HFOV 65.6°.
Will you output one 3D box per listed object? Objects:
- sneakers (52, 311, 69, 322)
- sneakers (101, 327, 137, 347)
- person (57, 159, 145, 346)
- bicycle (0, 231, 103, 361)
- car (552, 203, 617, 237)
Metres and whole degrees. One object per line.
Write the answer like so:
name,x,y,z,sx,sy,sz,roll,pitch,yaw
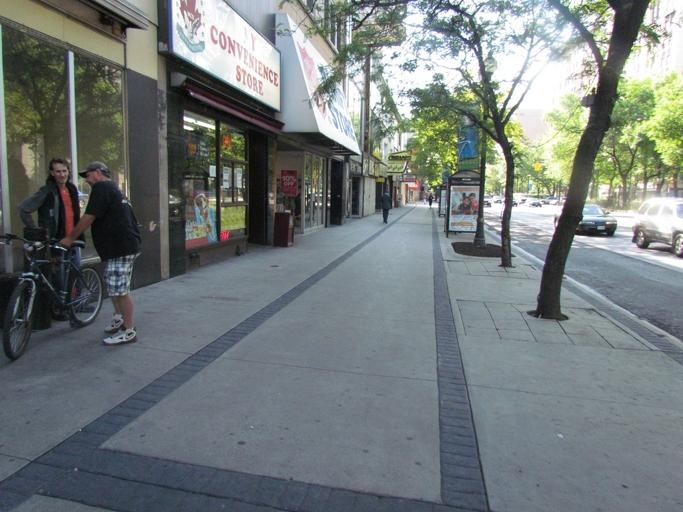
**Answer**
sneakers,-3.777,0.807,7.103,0.159,0.139,0.173,2,2,-25
sneakers,-2.791,1.023,6.679,0.361,0.174,0.195,2,-3,-24
person,-2.918,-0.037,6.689,0.838,2.218,0.725,11,15,34
bicycle,-3.684,0.454,6.741,0.840,1.216,1.765,2,-1,14
car,11.324,-1.513,23.613,1.478,1.311,2.328,8,15,25
